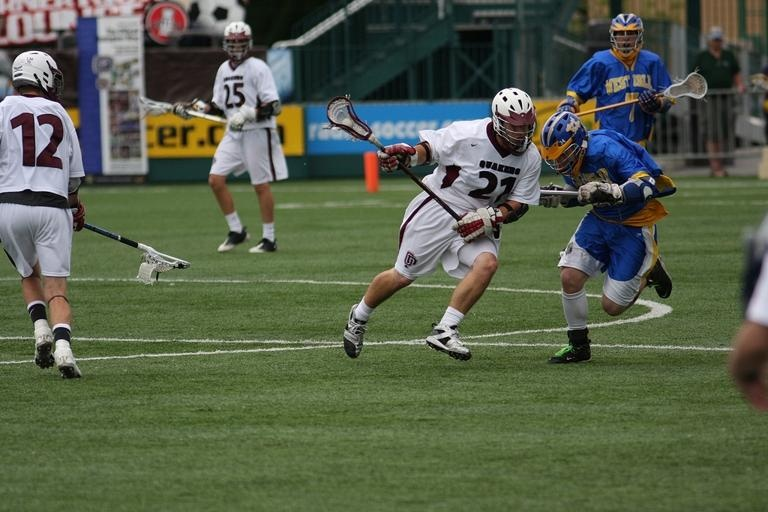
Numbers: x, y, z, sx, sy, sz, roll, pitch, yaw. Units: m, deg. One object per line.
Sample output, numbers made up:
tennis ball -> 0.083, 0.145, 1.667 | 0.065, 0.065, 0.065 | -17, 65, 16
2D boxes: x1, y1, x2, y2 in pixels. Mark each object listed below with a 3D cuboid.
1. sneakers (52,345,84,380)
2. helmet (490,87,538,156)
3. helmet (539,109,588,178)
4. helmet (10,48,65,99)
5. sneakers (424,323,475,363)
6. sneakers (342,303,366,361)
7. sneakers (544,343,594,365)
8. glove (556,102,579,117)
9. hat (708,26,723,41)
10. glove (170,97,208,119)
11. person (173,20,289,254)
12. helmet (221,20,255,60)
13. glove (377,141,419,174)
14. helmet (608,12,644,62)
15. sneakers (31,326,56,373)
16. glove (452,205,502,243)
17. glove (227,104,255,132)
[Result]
sneakers -> -2.391, 0.800, 9.934 | 0.200, 0.320, 0.199 | -4, 16, -12
helmet -> 0.993, -1.081, 10.305 | 0.333, 0.389, 0.413 | -7, 31, -21
helmet -> 1.420, -0.928, 10.624 | 0.352, 0.424, 0.488 | 9, 18, 32
helmet -> -2.721, -1.404, 10.300 | 0.309, 0.356, 0.383 | -2, -7, 39
sneakers -> 0.533, 0.663, 10.175 | 0.432, 0.205, 0.153 | 21, 1, 44
sneakers -> -0.257, 0.626, 10.463 | 0.164, 0.435, 0.210 | 7, -5, -39
sneakers -> 1.480, 0.804, 10.407 | 0.406, 0.162, 0.133 | 0, 3, -3
glove -> 1.776, -1.408, 12.764 | 0.302, 0.149, 0.449 | 2, 3, 12
hat -> 5.355, -3.586, 21.317 | 0.263, 0.190, 0.416 | 2, 6, 4
glove -> -2.281, -1.688, 15.319 | 0.395, 0.127, 0.289 | 0, 8, 28
person -> -1.654, -1.308, 15.205 | 1.035, 2.669, 1.160 | -5, 16, -16
helmet -> -1.707, -2.483, 15.289 | 0.314, 0.434, 0.517 | -2, 15, -7
glove -> 0.108, -0.757, 10.296 | 0.268, 0.114, 0.193 | 17, 50, 26
helmet -> 2.408, -2.156, 13.096 | 0.294, 0.460, 0.262 | 2, 16, 10
sneakers -> -2.586, 0.724, 10.000 | 0.141, 0.336, 0.178 | -7, 26, -15
glove -> 0.737, -0.229, 10.234 | 0.370, 0.220, 0.117 | -25, 27, -1
glove -> -1.584, -1.504, 14.801 | 0.353, 0.148, 0.237 | -25, 30, -11
